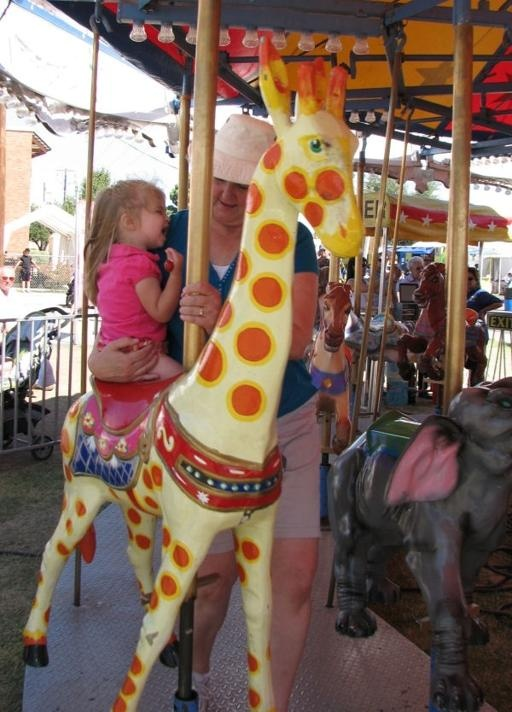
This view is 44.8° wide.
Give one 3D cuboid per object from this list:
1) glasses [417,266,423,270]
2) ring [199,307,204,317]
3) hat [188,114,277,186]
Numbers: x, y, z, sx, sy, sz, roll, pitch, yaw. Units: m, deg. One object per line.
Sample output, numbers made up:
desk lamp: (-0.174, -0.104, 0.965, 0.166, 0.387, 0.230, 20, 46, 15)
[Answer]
glasses: (2.400, -1.297, 9.163, 0.058, 0.056, 0.017, -5, -18, 4)
ring: (-0.116, -0.091, 1.313, 0.012, 0.012, 0.005, 25, -4, -36)
hat: (-0.018, -0.581, 1.714, 0.222, 0.124, 0.289, 31, 35, 21)
